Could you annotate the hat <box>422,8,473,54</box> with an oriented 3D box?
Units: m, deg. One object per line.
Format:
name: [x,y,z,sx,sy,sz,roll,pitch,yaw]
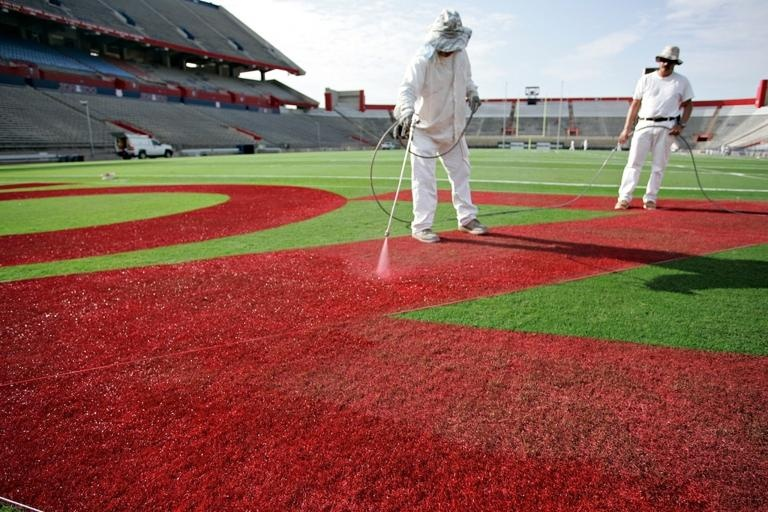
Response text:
hat: [0.660,-2.356,4.371,0.425,0.470,0.331,6,15,16]

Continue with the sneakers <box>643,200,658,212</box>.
sneakers: [4.054,-0.760,6.265,0.160,0.070,0.223,1,17,26]

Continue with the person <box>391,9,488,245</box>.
person: [0.656,-1.403,4.553,0.805,2.414,1.310,15,19,39]

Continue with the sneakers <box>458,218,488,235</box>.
sneakers: [1.026,-0.326,4.739,0.340,0.126,0.163,3,8,41]

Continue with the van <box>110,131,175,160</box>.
van: [-16.559,-7.678,28.901,2.275,1.668,3.752,16,21,38]

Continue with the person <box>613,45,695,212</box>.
person: [4.169,-1.920,6.369,0.827,2.354,1.242,12,17,31]

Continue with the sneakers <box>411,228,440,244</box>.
sneakers: [0.436,-0.212,4.451,0.289,0.105,0.140,1,9,35]

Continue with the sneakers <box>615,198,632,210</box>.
sneakers: [3.690,-0.793,6.351,0.125,0.112,0.304,-11,11,44]

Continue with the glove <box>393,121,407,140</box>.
glove: [0.165,-1.348,4.449,0.128,0.147,0.060,5,-18,17]
